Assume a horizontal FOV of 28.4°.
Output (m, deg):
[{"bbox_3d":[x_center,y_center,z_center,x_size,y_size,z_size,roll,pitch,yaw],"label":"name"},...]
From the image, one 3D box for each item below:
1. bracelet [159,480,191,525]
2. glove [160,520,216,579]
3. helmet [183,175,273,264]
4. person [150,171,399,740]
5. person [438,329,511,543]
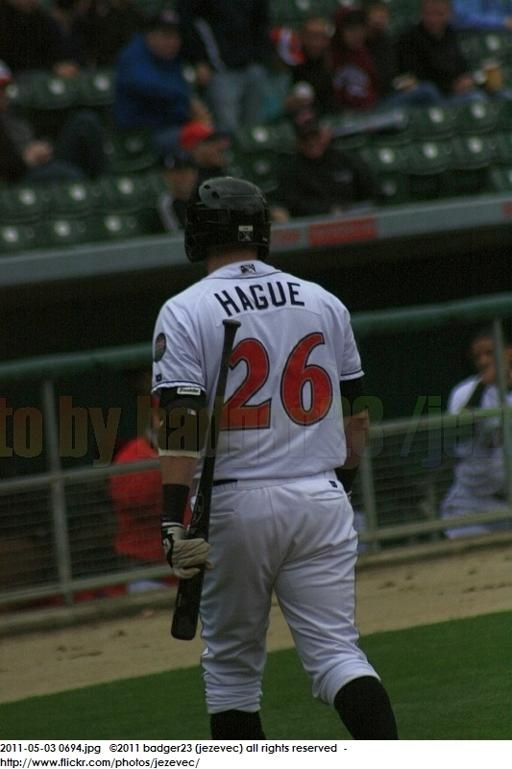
[{"bbox_3d":[-0.152,0.223,1.918,0.054,0.081,0.077,-4,13,-4],"label":"bracelet"},{"bbox_3d":[-0.128,0.306,1.862,0.039,0.094,0.107,-17,-4,40],"label":"glove"},{"bbox_3d":[-0.059,-0.338,2.078,0.161,0.170,0.190,0,6,-17],"label":"helmet"},{"bbox_3d":[0.013,0.226,2.091,0.491,1.261,0.445,-2,-2,-18],"label":"person"},{"bbox_3d":[0.811,0.184,3.727,0.259,0.714,0.316,-1,14,9],"label":"person"}]
